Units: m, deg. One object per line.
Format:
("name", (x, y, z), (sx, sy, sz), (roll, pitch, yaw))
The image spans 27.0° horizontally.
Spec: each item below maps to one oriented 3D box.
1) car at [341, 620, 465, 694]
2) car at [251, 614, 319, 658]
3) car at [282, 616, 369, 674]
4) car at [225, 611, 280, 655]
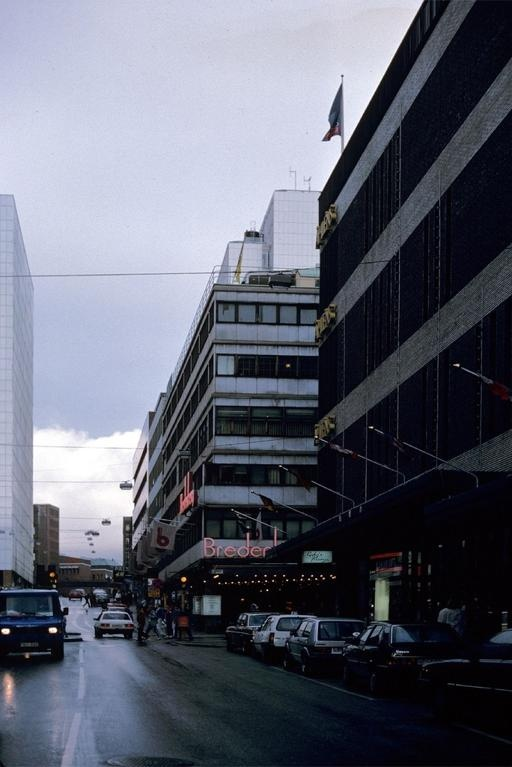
("car", (2.472, 5.036, 19.819), (0.861, 1.013, 2.415), (0, -7, -6))
("car", (0.650, 7.103, 30.474), (1.040, 1.497, 2.283), (0, -6, -11))
("car", (1.449, 6.131, 24.349), (0.906, 1.118, 1.921), (1, -2, -12))
("car", (-0.180, 8.389, 35.598), (0.819, 1.146, 2.499), (2, -6, -8))
